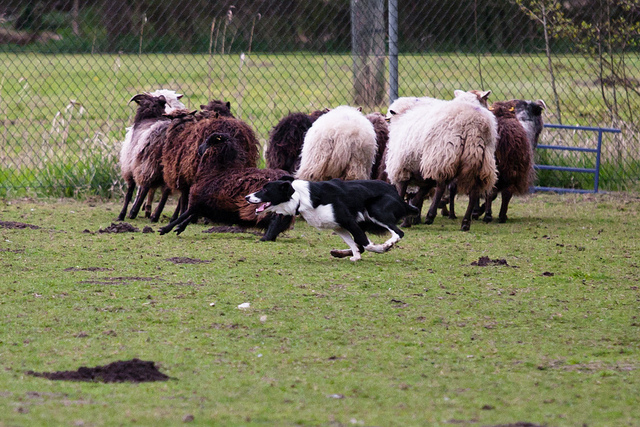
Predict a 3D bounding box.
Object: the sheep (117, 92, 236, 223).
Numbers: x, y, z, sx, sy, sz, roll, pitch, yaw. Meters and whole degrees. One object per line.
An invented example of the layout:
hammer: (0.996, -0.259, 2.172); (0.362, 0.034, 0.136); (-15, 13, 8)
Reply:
sheep: (-1.883, -0.705, 11.327); (0.945, 1.629, 2.129); (7, 5, -44)

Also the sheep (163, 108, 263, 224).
sheep: (-1.491, -0.667, 11.098); (1.068, 1.461, 1.981); (0, 4, -33)

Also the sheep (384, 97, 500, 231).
sheep: (1.614, -0.766, 11.778); (1.332, 1.694, 2.469); (1, 4, -20)

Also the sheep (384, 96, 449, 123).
sheep: (1.292, -1.607, 12.233); (0.903, 0.276, 0.509); (7, 2, 30)

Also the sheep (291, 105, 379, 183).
sheep: (0.377, -0.916, 11.786); (1.034, 0.954, 1.690); (0, 3, 14)

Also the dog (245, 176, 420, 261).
dog: (0.198, 0.033, 9.392); (1.995, 0.800, 0.591); (2, -10, -15)

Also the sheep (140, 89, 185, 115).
sheep: (-2.140, -1.543, 11.961); (0.442, 0.348, 0.630); (-11, 33, -11)

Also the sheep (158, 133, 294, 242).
sheep: (-0.912, -0.330, 10.381); (2.056, 1.338, 0.921); (6, 2, 31)

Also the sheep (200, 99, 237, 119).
sheep: (-1.389, -1.469, 11.639); (0.592, 0.297, 0.191); (15, 21, 24)
